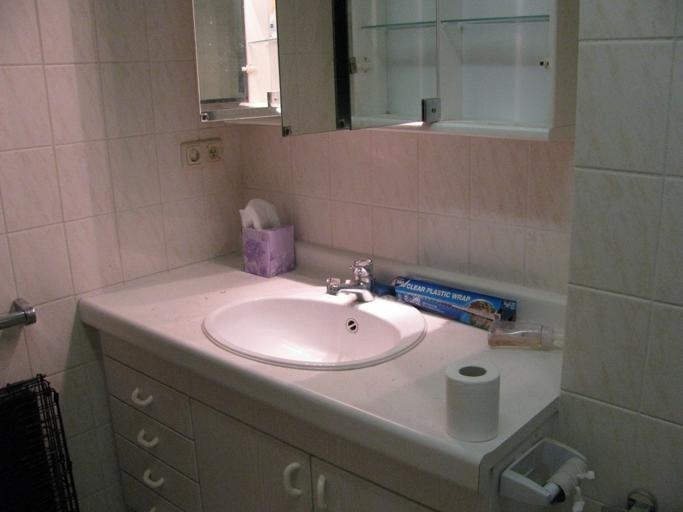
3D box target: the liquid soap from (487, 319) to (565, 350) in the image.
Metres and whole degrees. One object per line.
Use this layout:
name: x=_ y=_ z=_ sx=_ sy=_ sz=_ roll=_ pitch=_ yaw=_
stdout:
liquid soap: x=0.518 y=0.215 z=1.651 sx=0.196 sy=0.059 sz=0.132 roll=4 pitch=16 yaw=15

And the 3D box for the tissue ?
tissue : x=-0.268 y=-0.055 z=2.167 sx=0.175 sy=0.328 sz=0.211 roll=11 pitch=20 yaw=37

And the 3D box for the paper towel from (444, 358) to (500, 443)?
paper towel: x=0.274 y=0.315 z=1.309 sx=0.141 sy=0.173 sz=0.147 roll=7 pitch=25 yaw=19
